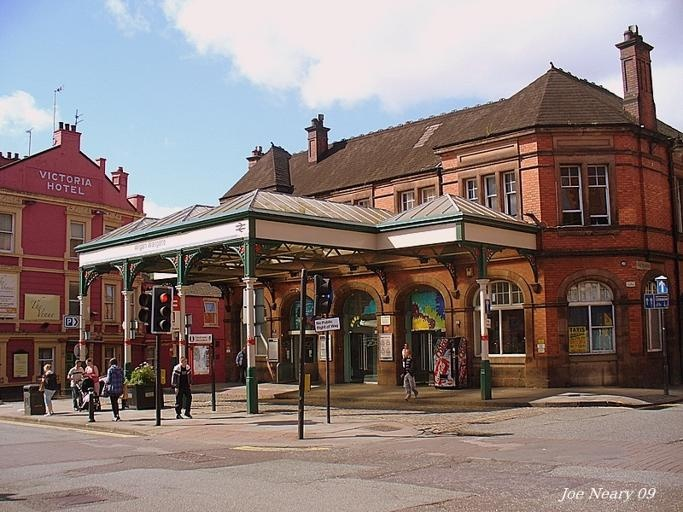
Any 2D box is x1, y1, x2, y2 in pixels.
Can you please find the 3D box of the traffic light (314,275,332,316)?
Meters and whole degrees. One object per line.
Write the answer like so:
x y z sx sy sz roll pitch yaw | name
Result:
-0.381 1.105 21.456 0.638 1.101 0.529 1 1 -14 | traffic light

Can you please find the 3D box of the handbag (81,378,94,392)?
-8.914 4.545 27.621 0.469 0.643 0.211 2 13 21 | handbag

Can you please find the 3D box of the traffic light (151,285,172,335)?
-5.163 1.533 22.583 0.563 1.388 0.449 1 -10 -14 | traffic light

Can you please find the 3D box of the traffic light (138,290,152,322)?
-5.554 1.439 22.289 0.330 0.941 0.758 1 -10 -14 | traffic light

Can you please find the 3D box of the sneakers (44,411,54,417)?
-10.139 5.511 27.298 0.166 0.221 0.515 3 -19 -30 | sneakers

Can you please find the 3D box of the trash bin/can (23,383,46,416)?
-10.768 5.076 27.633 0.691 1.026 0.757 3 -11 -24 | trash bin/can

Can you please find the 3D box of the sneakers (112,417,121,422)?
-7.029 5.130 24.580 0.324 0.225 0.116 -2 -7 31 | sneakers

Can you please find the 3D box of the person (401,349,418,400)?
2.564 4.407 29.373 0.482 1.913 1.226 -3 -10 5 | person
